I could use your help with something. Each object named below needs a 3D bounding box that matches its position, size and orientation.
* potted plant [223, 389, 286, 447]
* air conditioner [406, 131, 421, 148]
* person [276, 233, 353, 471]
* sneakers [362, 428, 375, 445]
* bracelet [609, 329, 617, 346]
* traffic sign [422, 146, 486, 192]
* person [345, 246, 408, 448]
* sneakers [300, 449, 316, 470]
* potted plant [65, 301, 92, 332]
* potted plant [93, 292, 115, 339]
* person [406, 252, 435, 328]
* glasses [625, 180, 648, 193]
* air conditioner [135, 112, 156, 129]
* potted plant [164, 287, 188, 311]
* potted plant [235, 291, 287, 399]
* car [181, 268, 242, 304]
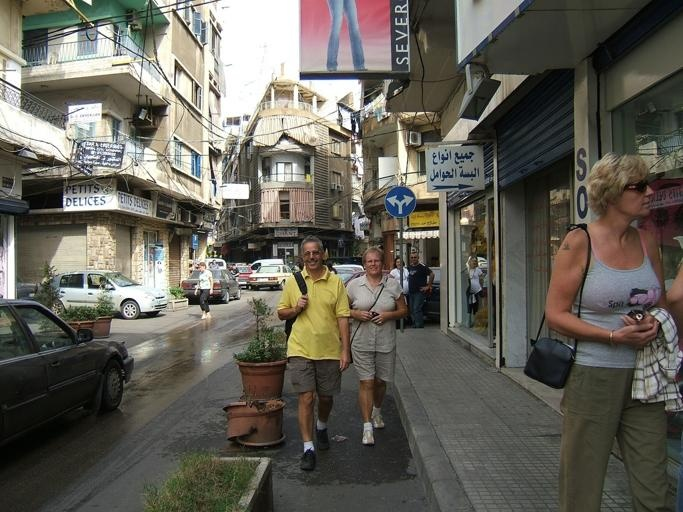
[{"bbox_3d":[-0.945,1.807,6.369,0.512,0.401,0.585,-3,-20,8],"label":"potted plant"},{"bbox_3d":[3.453,-5.539,27.071,0.610,0.694,0.983,-4,-1,24],"label":"air conditioner"},{"bbox_3d":[-0.288,0.987,6.193,0.735,2.033,0.491,-2,-1,-35],"label":"person"},{"bbox_3d":[0.304,2.047,6.516,0.114,0.102,0.215,-1,-12,2],"label":"sneakers"},{"bbox_3d":[1.749,0.528,3.717,0.040,0.096,0.054,-2,-1,-40],"label":"bracelet"},{"bbox_3d":[1.991,-1.535,10.097,0.769,0.701,0.042,1,-13,-10],"label":"traffic sign"},{"bbox_3d":[0.411,1.010,6.839,0.767,2.006,0.662,-3,-1,-16],"label":"person"},{"bbox_3d":[-0.348,2.077,5.930,0.154,0.182,0.244,-3,-1,-1],"label":"sneakers"},{"bbox_3d":[-5.577,1.295,12.278,0.664,0.693,0.678,1,-7,-14],"label":"potted plant"},{"bbox_3d":[-5.883,1.460,14.234,0.487,1.132,0.537,-7,-10,35],"label":"potted plant"},{"bbox_3d":[2.034,0.862,15.000,0.643,1.836,1.258,-3,-1,7],"label":"person"},{"bbox_3d":[1.949,-0.456,3.808,0.178,0.091,0.029,-4,-1,-10],"label":"glasses"},{"bbox_3d":[-8.880,-6.080,25.908,0.622,1.007,0.971,-7,14,-11],"label":"air conditioner"},{"bbox_3d":[-6.480,1.710,22.656,0.717,0.517,0.750,2,1,36],"label":"potted plant"},{"bbox_3d":[-0.989,1.129,7.079,0.575,1.207,0.620,-4,-3,31],"label":"potted plant"},{"bbox_3d":[-5.685,1.425,26.045,1.052,1.024,2.889,0,3,0],"label":"car"}]
